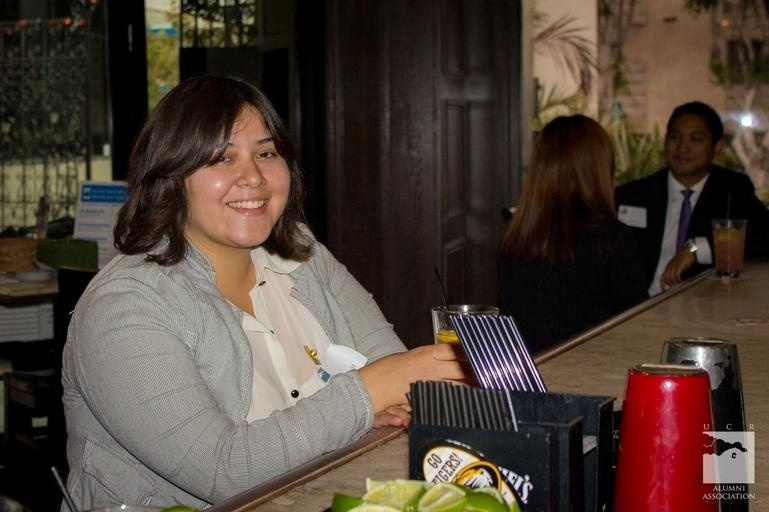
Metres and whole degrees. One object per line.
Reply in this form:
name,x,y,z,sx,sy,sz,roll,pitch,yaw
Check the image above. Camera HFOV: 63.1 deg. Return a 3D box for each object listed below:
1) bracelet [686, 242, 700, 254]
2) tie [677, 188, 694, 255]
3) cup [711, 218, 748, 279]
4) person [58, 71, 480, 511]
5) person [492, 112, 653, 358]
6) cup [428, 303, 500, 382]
bracelet,1.691,-0.049,3.429,0.056,0.074,0.031,-29,-19,3
tie,1.892,-0.208,3.921,0.075,0.448,0.063,2,-22,15
cup,1.522,-0.036,2.776,0.124,0.255,0.187,3,6,27
person,-0.321,0.062,1.479,0.812,0.987,0.721,-2,6,-28
person,0.802,-0.087,2.657,0.608,1.001,0.162,1,5,9
cup,0.199,0.188,1.505,0.143,0.122,0.162,0,-6,2
